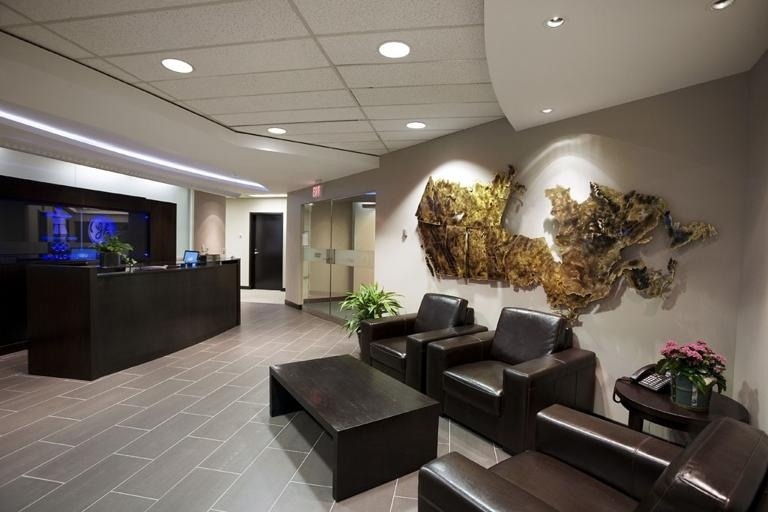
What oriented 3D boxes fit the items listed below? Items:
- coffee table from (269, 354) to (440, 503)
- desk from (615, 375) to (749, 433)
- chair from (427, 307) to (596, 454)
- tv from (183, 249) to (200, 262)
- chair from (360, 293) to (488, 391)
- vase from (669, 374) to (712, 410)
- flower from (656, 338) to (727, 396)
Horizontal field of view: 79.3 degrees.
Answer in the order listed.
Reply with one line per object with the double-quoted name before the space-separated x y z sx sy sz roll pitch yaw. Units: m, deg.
"coffee table" -0.383 1.558 4.709 1.083 0.558 1.696 -4 9 -33
"desk" 2.406 1.066 3.914 0.434 0.480 0.749 1 4 -16
"chair" 1.335 1.202 4.958 1.357 1.119 1.435 -3 8 -26
"tv" -3.118 -0.009 7.532 0.281 0.144 0.260 3 36 -16
"chair" 0.466 1.044 5.814 1.581 0.991 1.627 -1 7 4
"vase" 2.497 1.127 3.880 0.283 0.256 0.281 1 -2 -9
"flower" 2.694 0.928 3.975 0.597 0.345 0.611 -3 2 -13
